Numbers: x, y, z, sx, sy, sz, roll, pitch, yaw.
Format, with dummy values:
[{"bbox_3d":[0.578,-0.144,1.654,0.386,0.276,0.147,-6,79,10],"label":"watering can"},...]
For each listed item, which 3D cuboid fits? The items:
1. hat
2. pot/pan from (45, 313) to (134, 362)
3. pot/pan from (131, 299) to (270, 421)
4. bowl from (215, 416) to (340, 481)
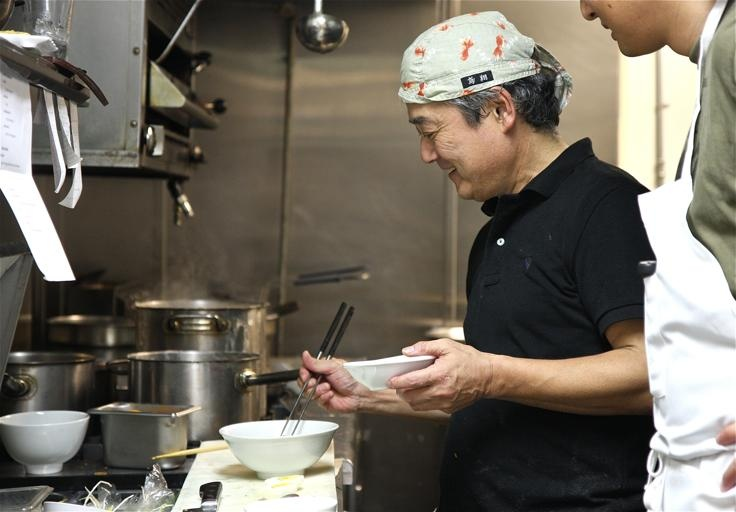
[{"bbox_3d":[0.291,-0.516,2.587,0.443,0.227,0.292,-6,15,-3],"label":"hat"},{"bbox_3d":[-1.011,0.281,3.683,0.279,0.166,0.276,1,7,-2],"label":"pot/pan"},{"bbox_3d":[-0.477,0.316,3.318,0.446,0.419,0.410,0,0,13],"label":"pot/pan"},{"bbox_3d":[-0.227,0.483,2.530,0.334,0.124,0.368,1,-7,-5],"label":"bowl"}]
